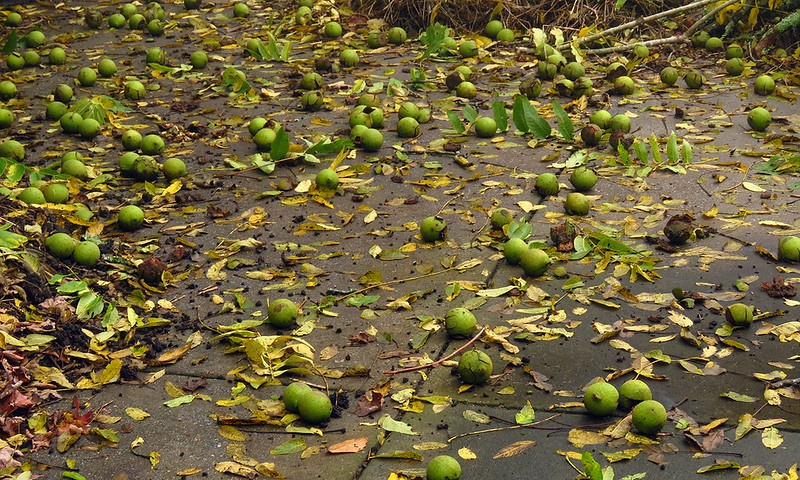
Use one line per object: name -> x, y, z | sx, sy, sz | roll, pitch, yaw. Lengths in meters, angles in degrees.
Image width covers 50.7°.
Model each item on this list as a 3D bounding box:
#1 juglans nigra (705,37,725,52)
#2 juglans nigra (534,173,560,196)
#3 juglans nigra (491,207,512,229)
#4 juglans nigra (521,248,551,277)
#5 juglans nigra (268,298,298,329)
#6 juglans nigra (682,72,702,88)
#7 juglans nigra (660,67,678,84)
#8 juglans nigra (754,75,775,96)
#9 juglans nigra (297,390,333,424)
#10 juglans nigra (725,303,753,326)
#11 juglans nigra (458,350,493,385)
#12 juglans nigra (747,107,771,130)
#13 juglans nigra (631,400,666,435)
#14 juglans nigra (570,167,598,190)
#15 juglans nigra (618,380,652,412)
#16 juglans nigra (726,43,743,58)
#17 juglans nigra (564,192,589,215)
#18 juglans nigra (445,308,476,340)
juglans nigra -> 3.638, -2.252, 9.784 | 0.158, 0.142, 0.179 | -16, 33, -19
juglans nigra -> 1.310, -0.503, 7.506 | 0.226, 0.172, 0.205 | -2, 31, 3
juglans nigra -> 0.821, -0.175, 7.145 | 0.188, 0.196, 0.168 | -4, 55, -6
juglans nigra -> 1.071, 0.185, 6.712 | 0.153, 0.138, 0.175 | -26, 56, -38
juglans nigra -> -0.887, 0.567, 6.533 | 0.267, 0.213, 0.221 | -4, 17, -5
juglans nigra -> 3.122, -1.689, 8.980 | 0.168, 0.139, 0.197 | 3, 9, -25
juglans nigra -> 2.870, -1.746, 9.065 | 0.213, 0.180, 0.184 | 2, 3, 4
juglans nigra -> 3.760, -1.593, 8.779 | 0.187, 0.172, 0.212 | 4, 48, 11
juglans nigra -> -0.598, 1.174, 5.930 | 0.211, 0.189, 0.172 | 16, 37, 29
juglans nigra -> 2.559, 0.554, 6.307 | 0.241, 0.156, 0.129 | -6, 32, -5
juglans nigra -> 0.542, 0.913, 6.161 | 0.269, 0.226, 0.249 | -12, 3, 11
juglans nigra -> 3.495, -1.166, 8.173 | 0.255, 0.197, 0.193 | -1, 32, 5
juglans nigra -> 1.685, 1.199, 5.799 | 0.276, 0.220, 0.230 | -1, -4, 2
juglans nigra -> 1.612, -0.552, 7.548 | 0.231, 0.204, 0.203 | -14, 27, -42
juglans nigra -> 1.620, 1.079, 5.879 | 0.232, 0.190, 0.207 | 7, -5, -8
juglans nigra -> 3.755, -2.086, 9.452 | 0.171, 0.153, 0.196 | -3, 31, 1
juglans nigra -> 1.505, -0.304, 7.215 | 0.171, 0.147, 0.207 | 2, 13, -3
juglans nigra -> 0.450, 0.616, 6.297 | 0.227, 0.169, 0.223 | -4, 14, -4
